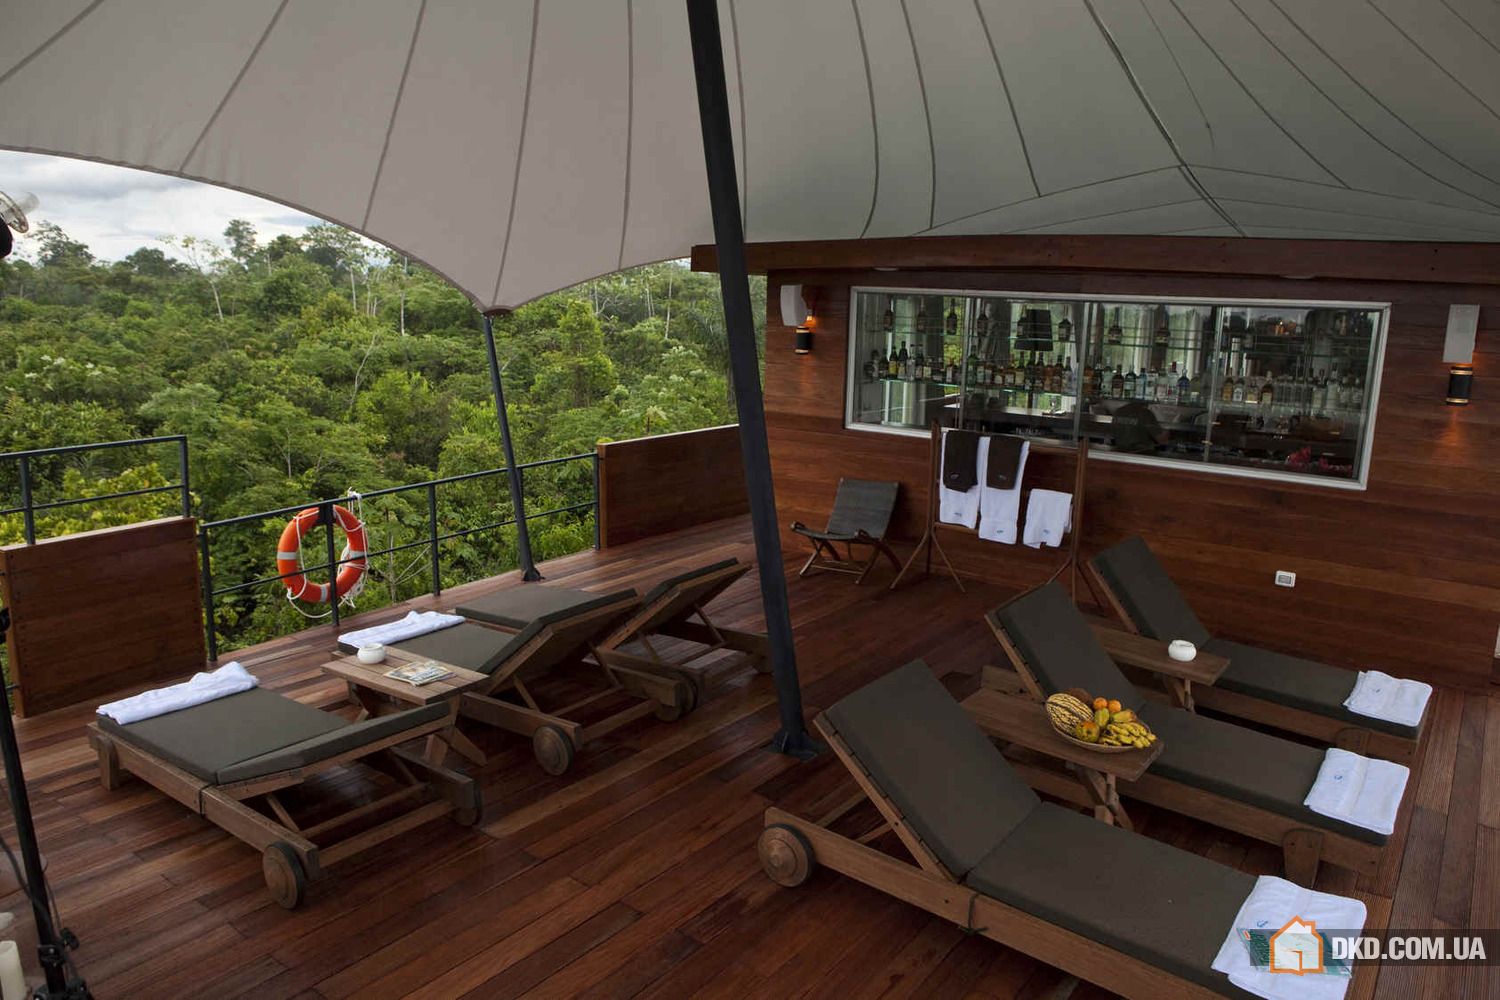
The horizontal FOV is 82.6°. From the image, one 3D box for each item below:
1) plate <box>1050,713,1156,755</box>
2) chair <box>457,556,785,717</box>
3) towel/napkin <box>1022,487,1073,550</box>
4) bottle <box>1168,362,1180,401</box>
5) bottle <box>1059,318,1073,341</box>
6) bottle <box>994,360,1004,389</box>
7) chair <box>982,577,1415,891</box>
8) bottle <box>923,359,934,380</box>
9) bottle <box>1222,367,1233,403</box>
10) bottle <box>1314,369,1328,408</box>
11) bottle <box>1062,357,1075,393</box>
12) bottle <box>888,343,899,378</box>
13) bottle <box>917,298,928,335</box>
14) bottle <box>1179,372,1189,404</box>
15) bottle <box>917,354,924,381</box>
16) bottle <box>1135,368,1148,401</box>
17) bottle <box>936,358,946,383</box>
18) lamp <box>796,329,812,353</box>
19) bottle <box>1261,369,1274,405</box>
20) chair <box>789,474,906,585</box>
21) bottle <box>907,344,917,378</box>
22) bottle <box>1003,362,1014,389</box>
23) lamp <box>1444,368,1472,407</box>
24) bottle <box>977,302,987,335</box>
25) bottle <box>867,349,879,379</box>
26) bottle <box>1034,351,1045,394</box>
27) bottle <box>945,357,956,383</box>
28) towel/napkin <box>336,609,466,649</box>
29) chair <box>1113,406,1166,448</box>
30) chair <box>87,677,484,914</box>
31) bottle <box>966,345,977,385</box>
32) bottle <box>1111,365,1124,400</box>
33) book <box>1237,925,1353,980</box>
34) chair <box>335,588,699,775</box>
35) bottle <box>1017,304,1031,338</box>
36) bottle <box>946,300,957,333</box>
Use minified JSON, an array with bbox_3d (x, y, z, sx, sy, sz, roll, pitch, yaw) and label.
[{"bbox_3d":[1.954,1.285,4.759,0.305,0.079,0.309,-1,6,-39],"label":"plate"},{"bbox_3d":[-0.705,0.954,6.360,1.762,0.792,1.031,8,12,38],"label":"chair"},{"bbox_3d":[2.872,0.201,8.210,0.424,0.599,0.299,5,14,24],"label":"towel/napkin"},{"bbox_3d":[3.888,-1.081,7.792,0.120,0.358,0.042,5,14,24],"label":"bottle"},{"bbox_3d":[3.044,-1.639,8.231,0.117,0.209,0.014,9,16,37],"label":"bottle"},{"bbox_3d":[2.522,-1.264,8.625,0.117,0.266,0.025,8,16,36],"label":"bottle"},{"bbox_3d":[2.490,1.456,5.371,2.405,1.126,1.401,11,23,31],"label":"chair"},{"bbox_3d":[1.882,-1.381,8.949,0.131,0.198,0.028,9,17,40],"label":"bottle"},{"bbox_3d":[4.257,-1.015,7.599,0.126,0.298,0.042,6,14,28],"label":"bottle"},{"bbox_3d":[4.808,-0.928,7.175,0.094,0.295,0.027,7,15,32],"label":"bottle"},{"bbox_3d":[3.101,-1.211,8.267,0.133,0.367,0.044,5,14,25],"label":"bottle"},{"bbox_3d":[1.572,-1.504,9.136,0.199,0.357,0.059,3,14,19],"label":"bottle"},{"bbox_3d":[1.811,-1.925,8.934,0.141,0.303,0.041,9,16,38],"label":"bottle"},{"bbox_3d":[3.953,-1.025,7.769,0.094,0.278,0.042,3,13,16],"label":"bottle"},{"bbox_3d":[1.803,-1.426,8.991,0.091,0.276,0.035,4,14,22],"label":"bottle"},{"bbox_3d":[3.658,-1.082,7.944,0.132,0.299,0.021,9,16,38],"label":"bottle"},{"bbox_3d":[1.992,-1.356,8.890,0.130,0.258,0.025,5,14,26],"label":"bottle"},{"bbox_3d":[0.599,-1.770,9.466,0.200,0.275,0.087,3,13,18],"label":"lamp"},{"bbox_3d":[4.521,-0.974,7.436,0.111,0.305,0.038,7,15,31],"label":"bottle"},{"bbox_3d":[1.109,0.252,9.286,0.915,1.095,1.206,9,18,37],"label":"chair"},{"bbox_3d":[1.736,-1.463,9.030,0.035,0.307,0.125,-13,17,-42],"label":"bottle"},{"bbox_3d":[2.612,-1.257,8.578,0.144,0.235,0.026,9,16,37],"label":"bottle"},{"bbox_3d":[5.494,-0.883,6.597,0.172,0.279,0.168,9,16,38],"label":"lamp"},{"bbox_3d":[2.358,-1.810,8.642,0.114,0.278,0.046,4,14,23],"label":"bottle"},{"bbox_3d":[1.360,-1.468,9.255,0.120,0.284,0.030,5,14,25],"label":"bottle"},{"bbox_3d":[2.842,-1.257,8.432,0.103,0.361,0.013,10,17,39],"label":"bottle"},{"bbox_3d":[2.083,-1.347,8.833,0.152,0.257,0.027,8,16,36],"label":"bottle"},{"bbox_3d":[-2.569,0.929,6.148,0.409,0.059,0.395,-11,14,-43],"label":"towel/napkin"},{"bbox_3d":[3.644,-0.663,7.975,0.415,0.380,0.390,1,2,17],"label":"chair"},{"bbox_3d":[-2.789,1.506,4.914,2.022,0.607,1.082,16,18,30],"label":"chair"},{"bbox_3d":[2.288,-1.376,8.726,0.145,0.402,0.026,4,14,23],"label":"bottle"},{"bbox_3d":[3.480,-1.105,8.059,0.118,0.316,0.032,6,15,29],"label":"bottle"},{"bbox_3d":[2.312,1.939,3.639,0.415,0.065,0.238,-1,11,2],"label":"book"},{"bbox_3d":[-1.601,1.206,6.155,1.985,0.834,1.216,14,18,38],"label":"chair"},{"bbox_3d":[2.715,-1.756,8.422,0.154,0.285,0.035,4,14,22],"label":"bottle"},{"bbox_3d":[2.087,-1.863,8.789,0.128,0.326,0.043,3,14,19],"label":"bottle"}]
